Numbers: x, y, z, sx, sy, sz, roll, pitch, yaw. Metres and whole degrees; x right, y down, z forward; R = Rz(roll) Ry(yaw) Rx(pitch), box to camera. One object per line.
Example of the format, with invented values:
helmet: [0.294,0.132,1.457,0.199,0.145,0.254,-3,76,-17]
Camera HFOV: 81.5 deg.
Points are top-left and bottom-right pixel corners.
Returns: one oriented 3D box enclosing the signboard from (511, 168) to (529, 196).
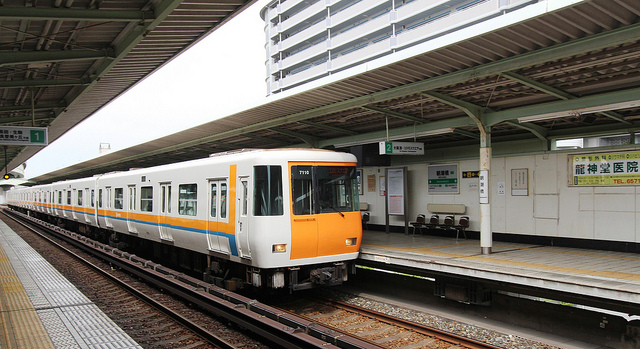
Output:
signboard: [7.169,0.311,15.400,0.617,1.106,0.064,-7,-7,44]

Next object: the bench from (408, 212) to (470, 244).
bench: [4.726,2.372,17.265,2.390,0.684,0.726,-1,9,38]

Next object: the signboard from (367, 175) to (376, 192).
signboard: [2.242,0.429,19.692,0.099,0.861,0.572,1,-6,-37]

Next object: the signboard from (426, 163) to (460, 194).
signboard: [4.721,0.220,17.671,1.996,1.278,0.651,-1,-1,-36]

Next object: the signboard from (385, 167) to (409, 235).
signboard: [3.199,1.264,18.344,0.501,3.286,1.446,1,-6,-34]
